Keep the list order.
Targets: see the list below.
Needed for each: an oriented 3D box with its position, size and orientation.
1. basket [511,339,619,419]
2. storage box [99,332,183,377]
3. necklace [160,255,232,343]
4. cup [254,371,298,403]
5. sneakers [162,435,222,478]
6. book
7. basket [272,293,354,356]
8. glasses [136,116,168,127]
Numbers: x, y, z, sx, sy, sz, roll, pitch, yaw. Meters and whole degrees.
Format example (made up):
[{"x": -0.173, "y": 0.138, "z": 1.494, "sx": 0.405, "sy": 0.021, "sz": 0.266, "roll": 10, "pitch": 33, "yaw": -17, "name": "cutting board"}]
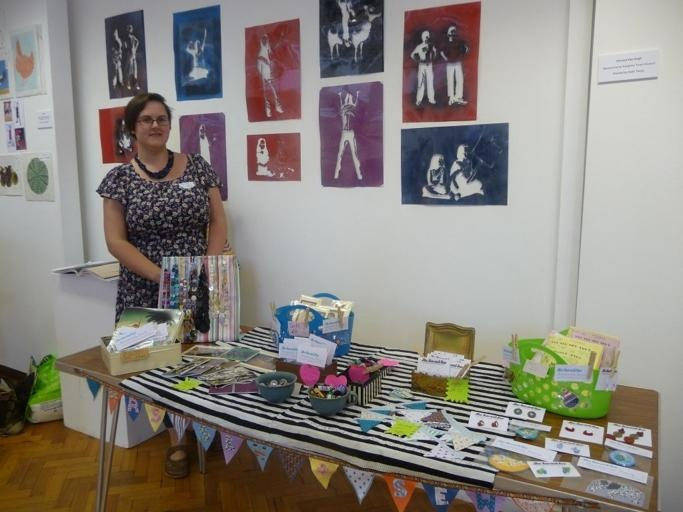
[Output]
[{"x": 0.889, "y": 0.490, "z": 2.026, "sx": 0.237, "sy": 0.267, "sz": 0.391, "roll": 7, "pitch": -3, "yaw": -24, "name": "basket"}, {"x": -0.880, "y": 0.463, "z": 2.251, "sx": 0.191, "sy": 0.060, "sz": 0.193, "roll": 6, "pitch": 8, "yaw": 45, "name": "storage box"}, {"x": -0.713, "y": 0.204, "z": 2.467, "sx": 0.393, "sy": 0.432, "sz": 0.055, "roll": 3, "pitch": -2, "yaw": -12, "name": "necklace"}, {"x": -0.259, "y": 0.552, "z": 2.072, "sx": 0.173, "sy": 0.096, "sz": 0.181, "roll": -1, "pitch": 0, "yaw": 0, "name": "cup"}, {"x": -0.922, "y": 1.264, "z": 3.211, "sx": 0.158, "sy": 0.155, "sz": 0.428, "roll": 3, "pitch": 0, "yaw": 21, "name": "sneakers"}, {"x": 0.881, "y": 0.439, "z": 1.992, "sx": 0.273, "sy": 0.252, "sz": 0.331, "roll": -2, "pitch": 4, "yaw": -26, "name": "book"}, {"x": -0.099, "y": 0.322, "z": 2.403, "sx": 0.376, "sy": 0.266, "sz": 0.234, "roll": 6, "pitch": 7, "yaw": 26, "name": "basket"}, {"x": -1.001, "y": -0.727, "z": 2.705, "sx": 0.152, "sy": 0.063, "sz": 0.048, "roll": -3, "pitch": 9, "yaw": -25, "name": "glasses"}]
